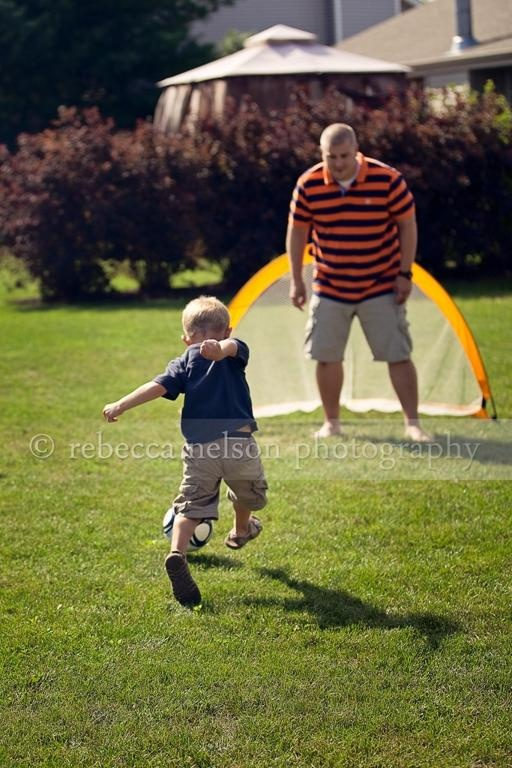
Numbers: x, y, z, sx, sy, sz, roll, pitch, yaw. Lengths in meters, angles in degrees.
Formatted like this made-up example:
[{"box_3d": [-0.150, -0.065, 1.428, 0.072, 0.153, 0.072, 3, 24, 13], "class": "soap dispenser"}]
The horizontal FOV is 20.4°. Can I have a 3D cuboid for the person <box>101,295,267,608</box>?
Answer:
[{"box_3d": [-0.211, 0.254, 5.719, 0.408, 1.202, 0.686, 1, 4, 37], "class": "person"}]

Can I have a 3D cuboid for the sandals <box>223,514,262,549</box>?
[{"box_3d": [-0.037, 0.635, 5.944, 0.089, 0.067, 0.171, 16, 40, 39], "class": "sandals"}]

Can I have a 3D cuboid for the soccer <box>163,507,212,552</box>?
[{"box_3d": [-0.274, 0.620, 5.899, 0.201, 0.186, 0.224, 17, -20, -4], "class": "soccer"}]

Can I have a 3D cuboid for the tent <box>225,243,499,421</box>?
[{"box_3d": [0.590, -0.220, 7.788, 1.548, 0.880, 1.249, -1, 19, 5], "class": "tent"}]

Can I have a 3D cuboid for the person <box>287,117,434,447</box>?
[{"box_3d": [0.509, -0.523, 6.863, 0.640, 1.625, 0.626, 0, 1, 8], "class": "person"}]
